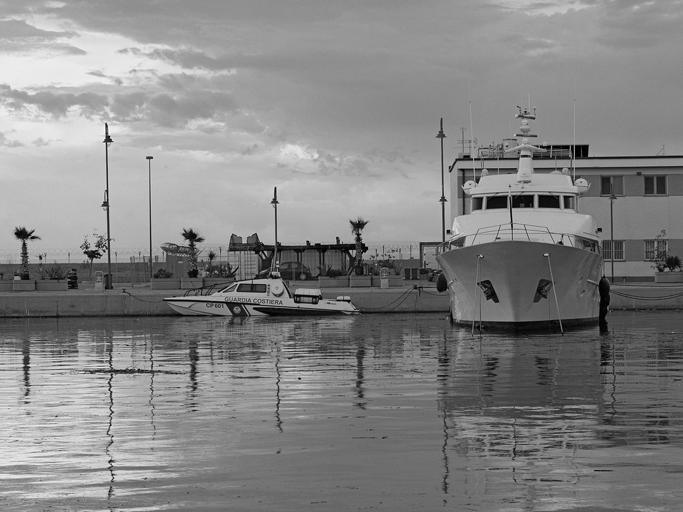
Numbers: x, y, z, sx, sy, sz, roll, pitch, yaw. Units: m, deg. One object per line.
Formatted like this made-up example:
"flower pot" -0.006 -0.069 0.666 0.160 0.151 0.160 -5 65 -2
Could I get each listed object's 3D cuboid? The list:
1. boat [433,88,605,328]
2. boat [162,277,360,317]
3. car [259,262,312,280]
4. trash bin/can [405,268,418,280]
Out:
"boat" 5.942 -1.097 52.945 4.758 7.030 6.258 0 6 6
"boat" -2.853 1.364 62.546 7.643 2.023 2.235 1 -5 5
"car" -2.922 0.703 92.806 2.682 0.831 1.192 2 1 10
"trash bin/can" 4.052 0.779 91.361 1.004 0.633 0.509 1 -4 -7
